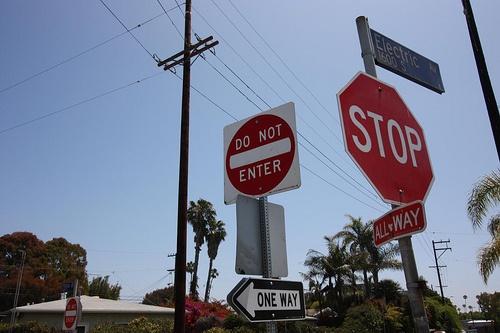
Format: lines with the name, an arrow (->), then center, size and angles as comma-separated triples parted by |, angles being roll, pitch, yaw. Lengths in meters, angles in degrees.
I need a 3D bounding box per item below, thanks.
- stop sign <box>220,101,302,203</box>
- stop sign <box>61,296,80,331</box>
stop sign -> 0.233, -0.133, 6.635 | 1.321, 1.553, 0.110 | -12, -21, 23
stop sign -> -6.547, 5.388, 14.709 | 0.338, 1.179, 1.139 | 16, -28, -31
